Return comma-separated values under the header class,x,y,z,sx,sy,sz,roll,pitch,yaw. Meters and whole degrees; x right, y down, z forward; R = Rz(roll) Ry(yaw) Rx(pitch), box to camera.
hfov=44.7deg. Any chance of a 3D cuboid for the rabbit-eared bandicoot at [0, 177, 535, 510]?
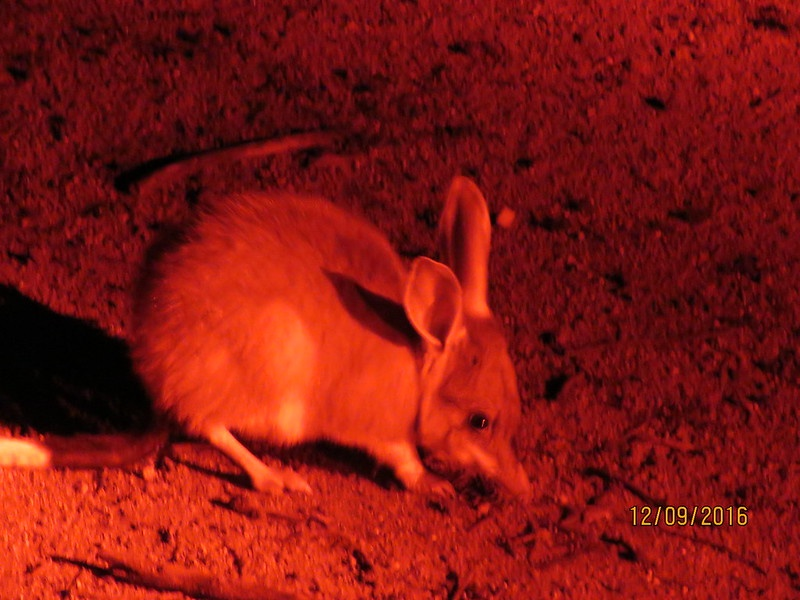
class,x,y,z,sx,sy,sz,roll,pitch,yaw
rabbit-eared bandicoot,-0.151,0.047,1.709,0.902,0.503,0.341,4,17,-1
